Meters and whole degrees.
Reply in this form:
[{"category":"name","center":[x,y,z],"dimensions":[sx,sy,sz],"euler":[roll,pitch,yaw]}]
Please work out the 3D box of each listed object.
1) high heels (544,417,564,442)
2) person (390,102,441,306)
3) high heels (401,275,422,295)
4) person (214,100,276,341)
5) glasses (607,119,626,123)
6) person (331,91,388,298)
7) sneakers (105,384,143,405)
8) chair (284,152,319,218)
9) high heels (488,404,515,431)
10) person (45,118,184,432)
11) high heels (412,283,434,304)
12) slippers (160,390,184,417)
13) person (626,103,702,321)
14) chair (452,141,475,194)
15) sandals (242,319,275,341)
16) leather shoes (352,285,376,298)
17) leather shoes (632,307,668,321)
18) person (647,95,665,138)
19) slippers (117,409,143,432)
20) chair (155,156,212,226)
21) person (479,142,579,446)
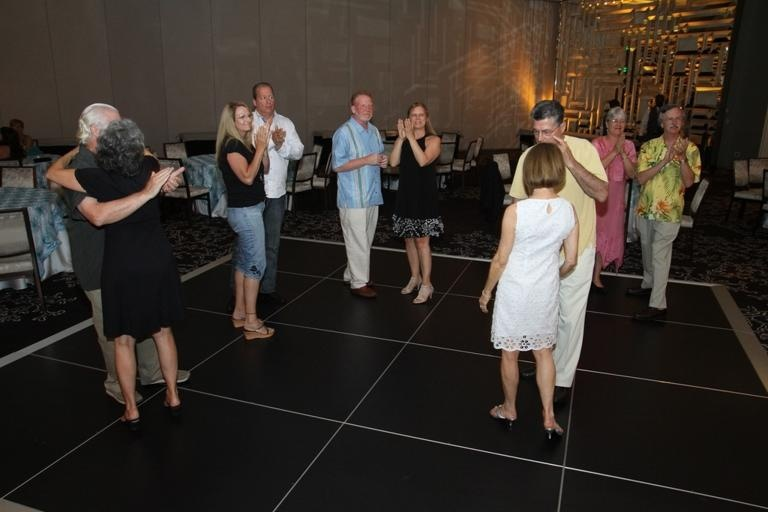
[{"category":"high heels","center":[1.222,1.203,3.538],"dimensions":[0.092,0.139,0.193],"euler":[3,33,26]},{"category":"person","center":[0.338,-0.543,5.171],"dimensions":[0.539,1.998,0.630],"euler":[-2,20,-7]},{"category":"high heels","center":[0.276,0.327,5.484],"dimensions":[0.106,0.176,0.325],"euler":[3,9,37]},{"category":"person","center":[-1.217,-0.306,4.485],"dimensions":[0.448,2.045,0.606],"euler":[-14,24,-34]},{"category":"glasses","center":[2.272,-1.337,4.846],"dimensions":[0.133,0.037,0.080],"euler":[7,23,16]},{"category":"person","center":[-0.252,-0.629,5.228],"dimensions":[0.539,2.071,0.533],"euler":[-1,20,-4]},{"category":"sneakers","center":[-2.007,1.059,3.814],"dimensions":[0.301,0.140,0.126],"euler":[8,11,19]},{"category":"chair","center":[-1.632,-1.298,8.868],"dimensions":[0.719,1.209,0.727],"euler":[10,18,16]},{"category":"high heels","center":[0.864,1.186,3.620],"dimensions":[0.104,0.104,0.198],"euler":[-20,44,-6]},{"category":"person","center":[-1.756,0.124,3.500],"dimensions":[0.756,2.082,0.586],"euler":[-5,20,-15]},{"category":"high heels","center":[0.427,0.405,5.282],"dimensions":[0.103,0.175,0.321],"euler":[8,11,25]},{"category":"slippers","center":[-1.600,1.110,3.734],"dimensions":[0.084,0.109,0.235],"euler":[-2,11,-22]},{"category":"person","center":[2.695,-0.425,4.853],"dimensions":[0.548,2.002,0.768],"euler":[13,23,31]},{"category":"chair","center":[1.667,-2.014,10.929],"dimensions":[0.687,1.048,0.694],"euler":[9,17,27]},{"category":"sandals","center":[-1.183,0.683,4.657],"dimensions":[0.269,0.211,0.146],"euler":[-6,14,-16]},{"category":"leather shoes","center":[-0.218,0.393,5.401],"dimensions":[0.221,0.110,0.121],"euler":[2,15,23]},{"category":"leather shoes","center":[2.635,0.585,4.928],"dimensions":[0.310,0.147,0.128],"euler":[-1,8,-1]},{"category":"person","center":[5.728,-2.921,10.433],"dimensions":[0.372,0.392,1.285],"euler":[2,56,33]},{"category":"slippers","center":[-1.839,1.183,3.593],"dimensions":[0.077,0.085,0.214],"euler":[-3,12,-31]},{"category":"chair","center":[-3.301,-1.110,8.235],"dimensions":[0.581,1.106,0.641],"euler":[9,19,27]},{"category":"person","center":[1.007,0.251,3.400],"dimensions":[0.643,1.979,0.490],"euler":[5,20,12]}]
